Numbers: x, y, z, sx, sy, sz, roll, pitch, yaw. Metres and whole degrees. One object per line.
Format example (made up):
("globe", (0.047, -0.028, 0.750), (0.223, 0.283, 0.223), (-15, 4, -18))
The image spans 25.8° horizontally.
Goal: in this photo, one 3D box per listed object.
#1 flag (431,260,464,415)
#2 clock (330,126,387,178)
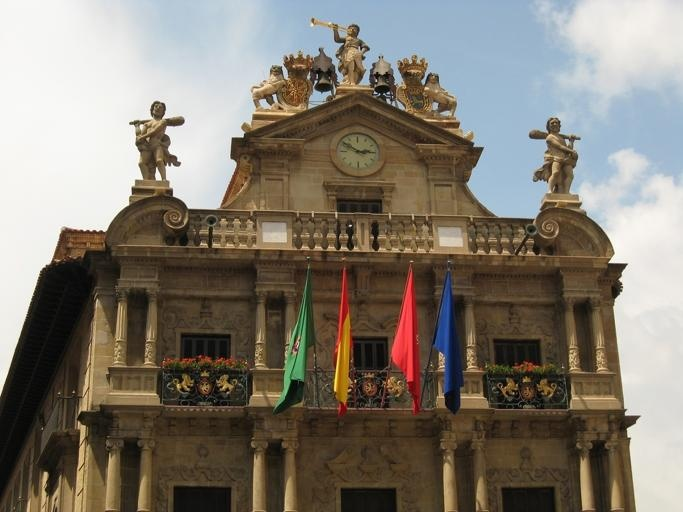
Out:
("flag", (3.808, 2.847, 53.313), (0.913, 5.559, 0.552), (-2, -25, 5))
("clock", (0.634, -4.135, 58.803), (2.052, 2.064, 0.299), (3, -25, -6))
